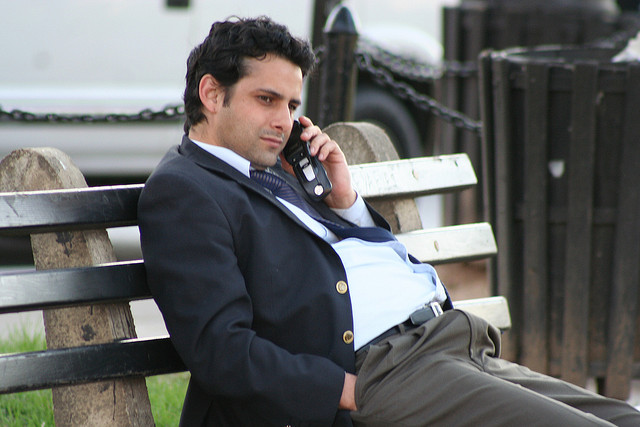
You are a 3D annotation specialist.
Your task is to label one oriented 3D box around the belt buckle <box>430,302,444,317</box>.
[{"bbox_3d":[0.662,0.539,7.986,0.054,0.075,0.023,-3,-22,-38],"label":"belt buckle"}]
